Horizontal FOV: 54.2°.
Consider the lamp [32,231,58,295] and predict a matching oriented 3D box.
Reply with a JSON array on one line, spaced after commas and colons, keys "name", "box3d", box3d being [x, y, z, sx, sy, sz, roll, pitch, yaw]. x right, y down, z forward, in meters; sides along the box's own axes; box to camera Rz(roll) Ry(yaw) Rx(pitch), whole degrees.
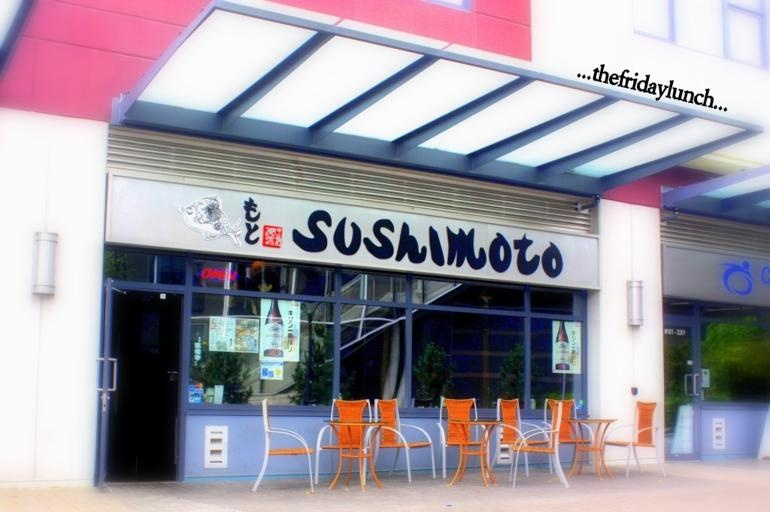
[{"name": "lamp", "box3d": [-5.342, 0.100, 11.798, 0.325, 0.923, 0.199, 5, -13, -26]}]

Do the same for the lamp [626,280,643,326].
[{"name": "lamp", "box3d": [5.273, 0.991, 15.916, 0.260, 0.947, 0.311, 7, -13, -33]}]
